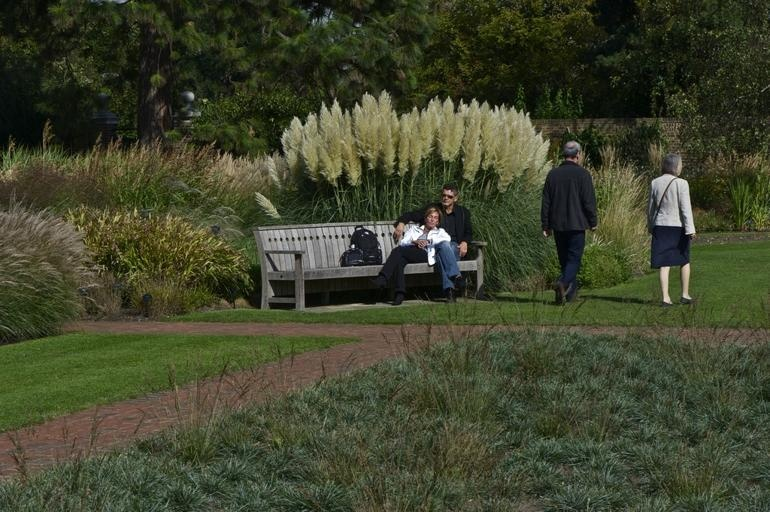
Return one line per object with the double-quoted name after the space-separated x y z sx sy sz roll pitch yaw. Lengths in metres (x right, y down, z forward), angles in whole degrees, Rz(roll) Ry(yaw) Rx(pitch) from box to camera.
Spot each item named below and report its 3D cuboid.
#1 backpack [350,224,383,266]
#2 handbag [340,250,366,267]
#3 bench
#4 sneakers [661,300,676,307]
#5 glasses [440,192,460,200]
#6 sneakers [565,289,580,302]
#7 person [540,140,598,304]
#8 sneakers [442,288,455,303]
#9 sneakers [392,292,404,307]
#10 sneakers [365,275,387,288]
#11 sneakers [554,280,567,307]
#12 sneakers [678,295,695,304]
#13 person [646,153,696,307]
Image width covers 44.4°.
-0.318 -0.161 14.986 0.508 0.711 0.397 -4 2 -40 "backpack"
-0.499 0.024 14.758 0.298 0.303 0.256 0 -4 -17 "handbag"
-0.904 0.097 14.836 2.303 0.987 0.931 -3 27 -22 "bench"
3.917 0.645 13.142 0.087 0.096 0.252 4 7 30 "sneakers"
1.034 -0.958 14.837 0.228 0.153 0.141 -1 0 -14 "glasses"
2.737 0.572 13.855 0.091 0.152 0.426 -5 -9 22 "sneakers"
2.713 -0.515 13.802 0.706 2.375 0.667 -1 0 -14 "person"
0.984 0.592 14.245 0.229 0.203 0.332 1 -2 2 "sneakers"
0.203 0.633 14.395 0.176 0.215 0.270 -1 0 -2 "sneakers"
-0.119 0.378 14.759 0.270 0.181 0.680 -1 -1 -2 "sneakers"
2.516 0.535 13.583 0.226 0.328 0.127 2 2 -17 "sneakers"
4.253 0.603 13.272 0.088 0.108 0.256 5 7 38 "sneakers"
4.075 -0.394 13.434 0.618 2.151 0.786 -1 0 -1 "person"
